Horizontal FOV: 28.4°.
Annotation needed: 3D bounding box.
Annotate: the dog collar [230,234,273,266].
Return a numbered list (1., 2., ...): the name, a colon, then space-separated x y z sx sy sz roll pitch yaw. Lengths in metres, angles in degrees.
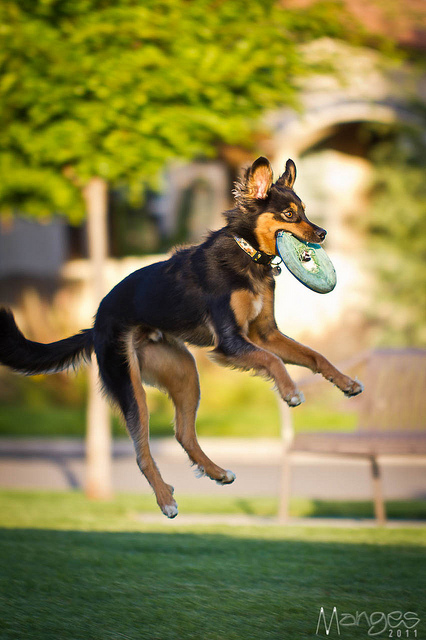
1. dog collar: 0.192 -0.333 4.025 0.152 0.140 0.037 33 88 40

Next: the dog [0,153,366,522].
1. dog: -0.221 0.059 4.136 1.487 1.709 0.702 2 15 -4

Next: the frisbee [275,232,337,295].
1. frisbee: 0.444 -0.269 3.954 0.065 0.323 0.272 -48 -5 24
